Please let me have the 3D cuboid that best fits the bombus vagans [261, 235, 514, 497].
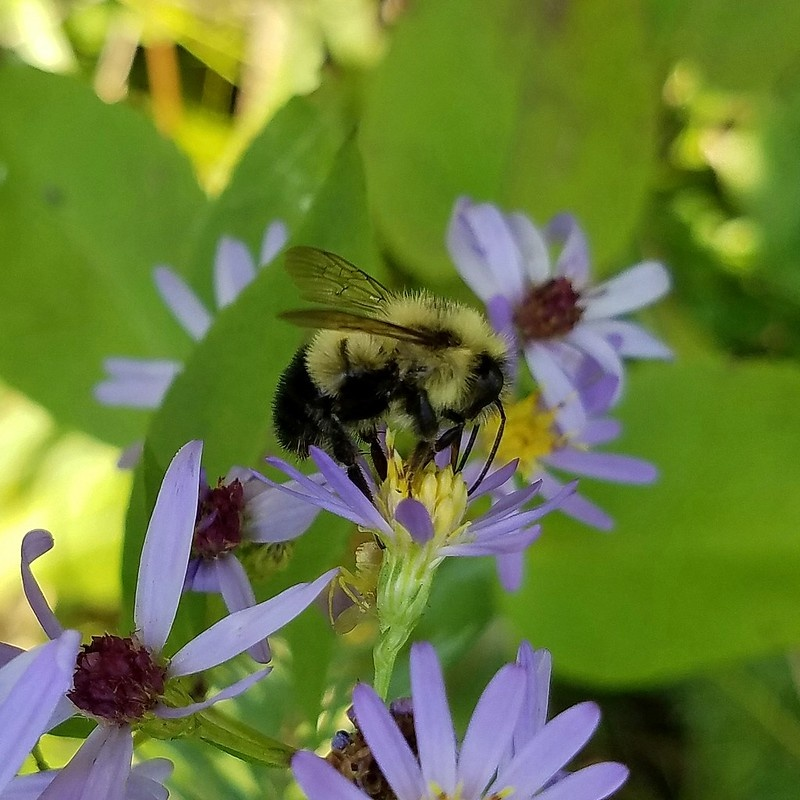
[{"bbox_3d":[-0.012,-0.013,0.642,0.139,0.053,0.110,20,38,-21],"label":"bombus vagans"}]
